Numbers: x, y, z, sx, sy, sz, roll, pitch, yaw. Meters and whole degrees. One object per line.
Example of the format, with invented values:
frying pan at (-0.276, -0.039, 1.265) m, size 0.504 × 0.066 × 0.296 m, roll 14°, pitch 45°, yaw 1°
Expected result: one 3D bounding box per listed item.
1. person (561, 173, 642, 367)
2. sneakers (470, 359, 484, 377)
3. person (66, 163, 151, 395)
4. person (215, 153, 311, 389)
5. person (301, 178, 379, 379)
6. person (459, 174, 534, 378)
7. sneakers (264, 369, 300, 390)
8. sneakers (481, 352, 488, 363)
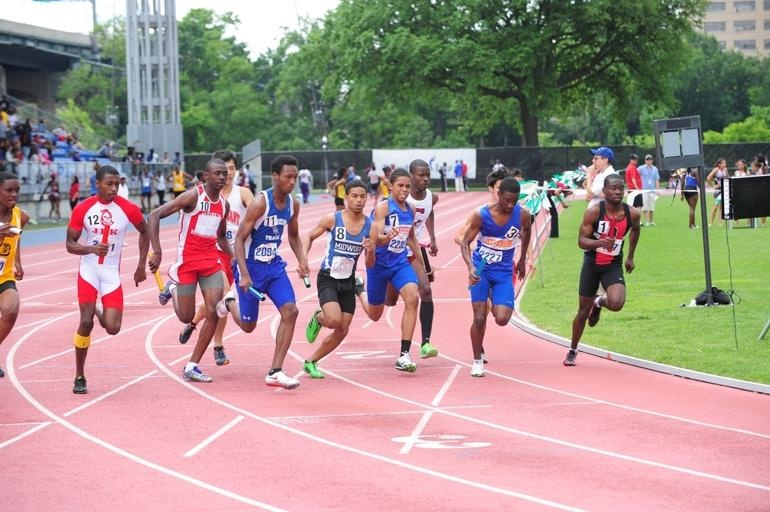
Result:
person at (3.055, 0.179, 11.305) m, size 0.934 × 2.652 × 1.148 m, roll 2°, pitch 10°, yaw 17°
sneakers at (1.252, 1.490, 10.845) m, size 0.184 × 0.222 × 0.288 m, roll 0°, pitch 9°, yaw 5°
person at (-3.602, 0.244, 10.486) m, size 1.011 × 2.845 × 1.335 m, roll -4°, pitch 10°, yaw -19°
person at (-1.431, 0.179, 10.249) m, size 0.885 × 2.870 × 0.989 m, roll -2°, pitch 10°, yaw -6°
person at (-0.618, 0.330, 10.532) m, size 0.957 × 2.638 × 0.729 m, roll 0°, pitch 10°, yaw 4°
person at (1.534, 0.246, 10.935) m, size 0.956 × 2.631 × 0.844 m, roll -1°, pitch 10°, yaw -3°
sneakers at (-1.341, 1.553, 10.188) m, size 0.522 × 0.216 × 0.195 m, roll 4°, pitch 3°, yaw 14°
sneakers at (1.408, 1.448, 11.427) m, size 0.106 × 0.109 × 0.276 m, roll -1°, pitch -2°, yaw 1°
